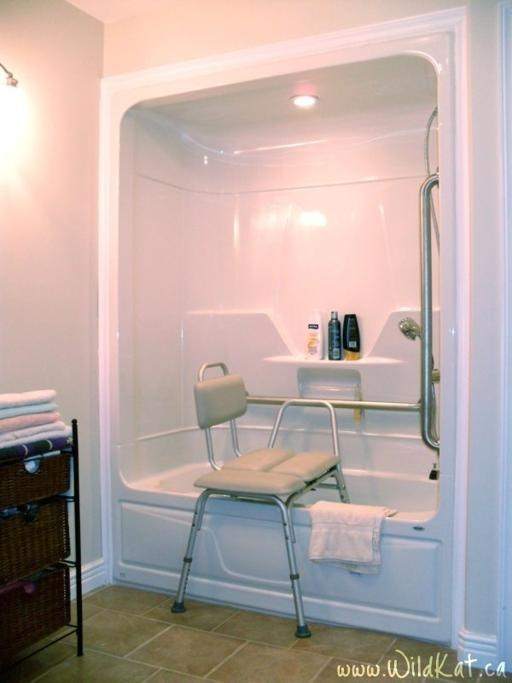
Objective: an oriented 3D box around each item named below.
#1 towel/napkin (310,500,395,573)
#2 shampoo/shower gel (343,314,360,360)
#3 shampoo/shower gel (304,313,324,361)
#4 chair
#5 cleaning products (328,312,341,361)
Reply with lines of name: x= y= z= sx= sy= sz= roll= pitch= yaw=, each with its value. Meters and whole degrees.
towel/napkin: x=0.301 y=0.639 z=1.844 sx=0.276 sy=0.210 sz=0.128 roll=-2 pitch=-2 yaw=16
shampoo/shower gel: x=0.442 y=-0.026 z=2.676 sx=0.083 sy=0.210 sz=0.050 roll=-1 pitch=-2 yaw=8
shampoo/shower gel: x=0.275 y=-0.026 z=2.732 sx=0.075 sy=0.219 sz=0.057 roll=-1 pitch=-2 yaw=13
chair: x=0.014 y=0.447 z=2.441 sx=0.745 sy=1.232 sz=0.859 roll=-1 pitch=1 yaw=21
cleaning products: x=0.369 y=-0.028 z=2.697 sx=0.062 sy=0.222 sz=0.044 roll=-1 pitch=-2 yaw=9
